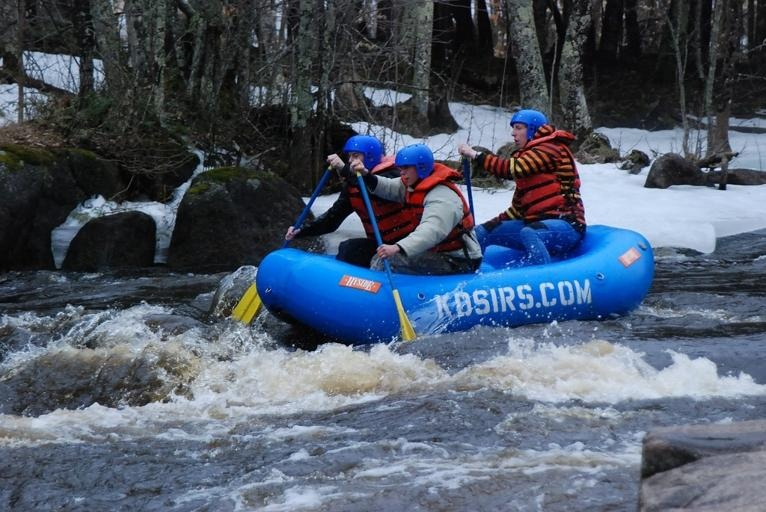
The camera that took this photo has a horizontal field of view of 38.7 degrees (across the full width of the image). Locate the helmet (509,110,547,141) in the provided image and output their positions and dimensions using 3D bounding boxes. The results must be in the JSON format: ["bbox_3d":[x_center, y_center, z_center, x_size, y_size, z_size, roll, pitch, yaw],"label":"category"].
[{"bbox_3d":[2.226,-1.997,16.447,0.597,0.386,0.417,-11,2,1],"label":"helmet"}]

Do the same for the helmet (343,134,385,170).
[{"bbox_3d":[-0.247,-1.547,15.869,0.647,0.439,0.479,-12,16,-37],"label":"helmet"}]

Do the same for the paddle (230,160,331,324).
[{"bbox_3d":[-1.459,-0.169,15.666,0.116,2.722,0.313,30,12,2],"label":"paddle"}]

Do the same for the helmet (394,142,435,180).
[{"bbox_3d":[0.457,-1.342,15.320,0.621,0.425,0.441,-6,16,-2],"label":"helmet"}]
